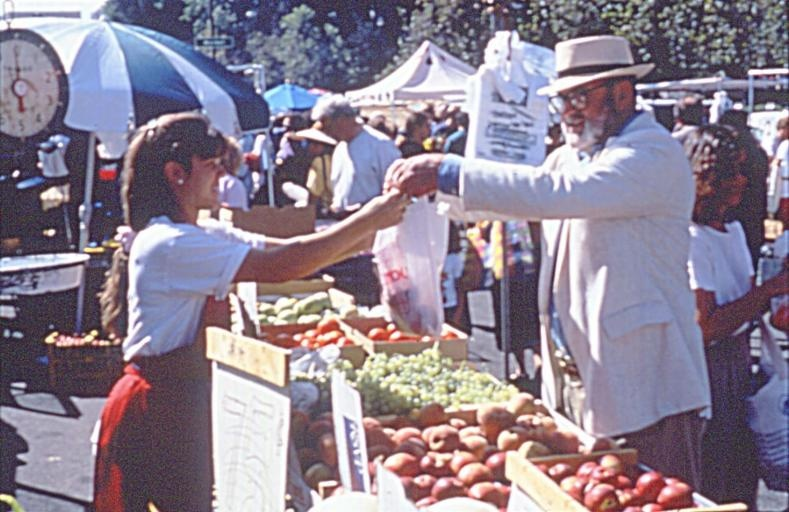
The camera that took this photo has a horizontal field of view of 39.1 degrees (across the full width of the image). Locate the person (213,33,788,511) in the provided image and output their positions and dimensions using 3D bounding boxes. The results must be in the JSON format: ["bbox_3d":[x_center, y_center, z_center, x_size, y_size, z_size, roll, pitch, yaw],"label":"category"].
[{"bbox_3d":[1.148,0.061,5.755,1.138,2.779,1.077,-4,5,-42],"label":"person"}]

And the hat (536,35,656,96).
[{"bbox_3d":[1.067,-0.983,5.739,0.510,0.292,0.167,2,3,7],"label":"hat"}]
